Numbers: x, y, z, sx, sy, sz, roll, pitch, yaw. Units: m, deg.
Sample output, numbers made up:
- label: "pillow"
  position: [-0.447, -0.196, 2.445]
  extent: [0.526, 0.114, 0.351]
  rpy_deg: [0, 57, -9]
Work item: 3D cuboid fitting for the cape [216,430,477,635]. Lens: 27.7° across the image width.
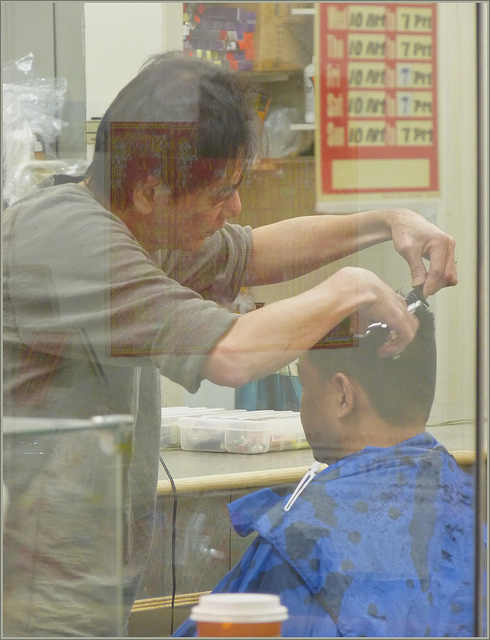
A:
- label: "cape"
  position: [0.224, 0.380, 1.718]
  extent: [0.356, 0.097, 0.319]
  rpy_deg: [-1, 1, -16]
